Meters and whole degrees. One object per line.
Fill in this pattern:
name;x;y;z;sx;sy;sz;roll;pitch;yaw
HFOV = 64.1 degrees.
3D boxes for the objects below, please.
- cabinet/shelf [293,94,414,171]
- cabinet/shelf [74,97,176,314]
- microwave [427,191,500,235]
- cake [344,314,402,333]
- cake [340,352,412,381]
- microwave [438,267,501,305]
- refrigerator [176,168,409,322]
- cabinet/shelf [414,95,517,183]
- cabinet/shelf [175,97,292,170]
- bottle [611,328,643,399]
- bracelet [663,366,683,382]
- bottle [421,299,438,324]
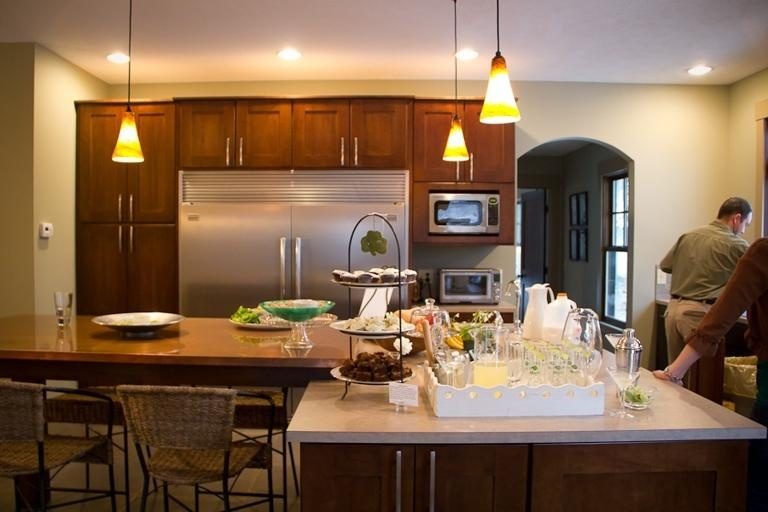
cabinet/shelf;-0.287;-1.141;5.804;1.108;0.652;0.403;1;3;3
cabinet/shelf;-2.508;-0.204;5.973;0.905;2.336;0.330;-2;21;-27
microwave;0.726;-0.396;5.737;0.705;0.408;0.391;0;-3;-4
cake;-0.070;0.386;3.613;0.313;0.079;0.272;0;3;-4
cake;-0.055;0.598;3.286;0.212;0.069;0.215;-2;-2;29
microwave;0.810;0.286;5.764;0.561;0.346;0.334;1;-3;-1
refrigerator;-0.754;-0.080;5.324;1.437;1.310;0.538;0;-2;0
cabinet/shelf;0.744;-1.068;5.862;0.934;0.752;0.359;0;-1;-3
cabinet/shelf;-1.339;-1.142;5.789;1.051;0.625;0.353;1;2;9
bottle;1.300;0.558;3.291;0.133;0.363;0.318;2;3;23
bracelet;1.687;0.691;3.593;0.077;0.096;0.055;1;-11;3
bottle;0.282;0.338;3.793;0.140;0.149;0.137;1;-6;0
